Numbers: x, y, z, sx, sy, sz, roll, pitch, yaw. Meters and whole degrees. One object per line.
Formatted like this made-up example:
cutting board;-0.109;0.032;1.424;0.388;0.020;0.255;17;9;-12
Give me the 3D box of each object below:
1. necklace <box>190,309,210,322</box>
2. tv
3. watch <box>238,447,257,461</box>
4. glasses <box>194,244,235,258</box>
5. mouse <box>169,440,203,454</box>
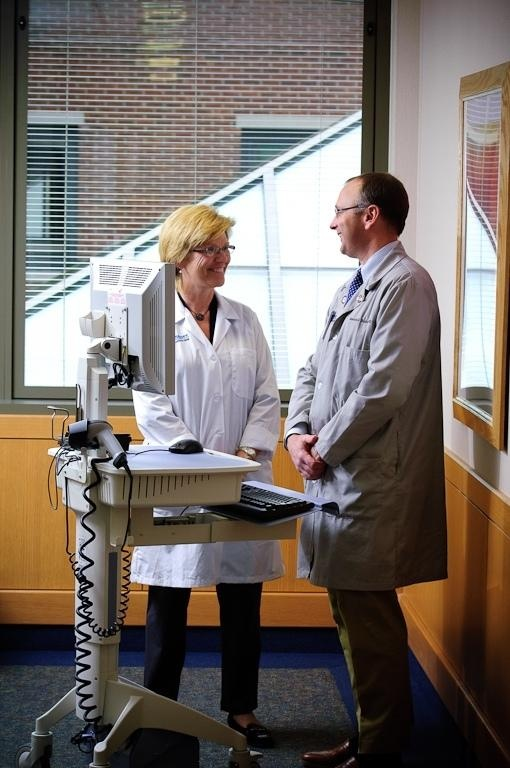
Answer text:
necklace;-0.150;-0.196;2.156;0.041;0.029;0.006;-3;-3;-40
tv;-0.266;-0.122;1.648;0.092;0.264;0.255;-8;14;-36
watch;-0.023;0.190;2.051;0.054;0.042;0.065;-1;8;0
glasses;-0.106;-0.365;2.075;0.060;0.034;0.144;4;9;34
mouse;-0.155;0.143;1.706;0.076;0.031;0.067;-2;8;-9
